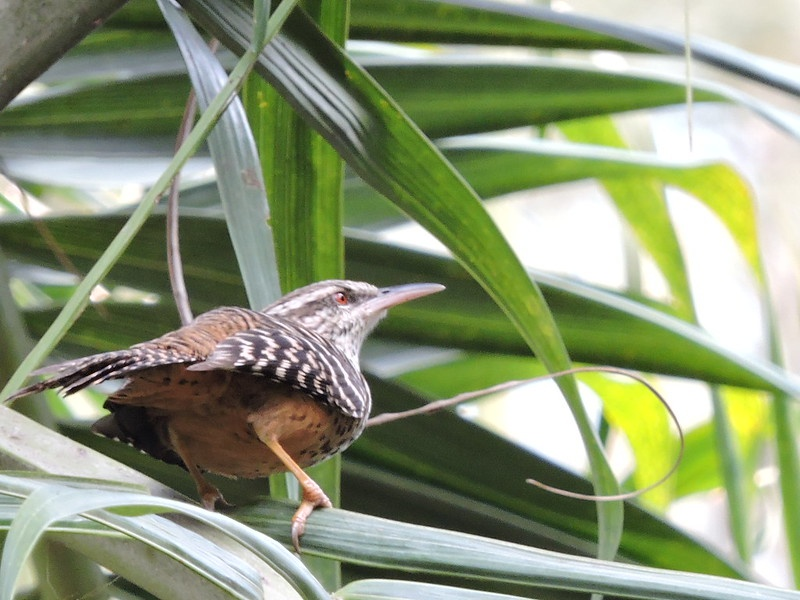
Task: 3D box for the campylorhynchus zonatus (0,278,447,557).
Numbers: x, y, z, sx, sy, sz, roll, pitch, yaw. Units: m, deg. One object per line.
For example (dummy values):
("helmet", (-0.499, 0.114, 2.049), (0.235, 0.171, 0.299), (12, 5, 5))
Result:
("campylorhynchus zonatus", (-0.319, 0.120, 2.252), (0.391, 0.526, 0.920), (-18, -27, 32))
